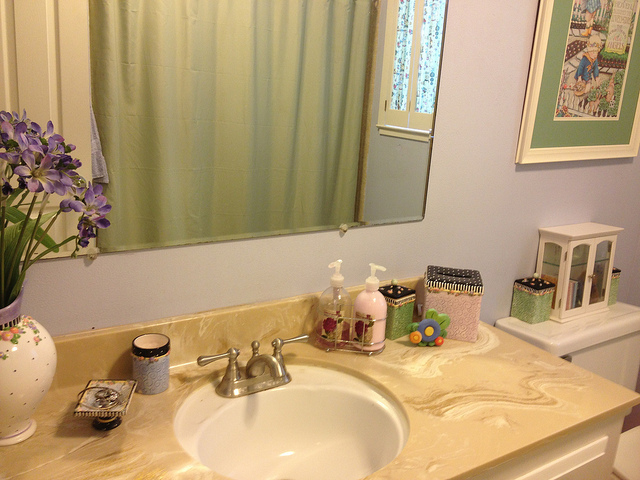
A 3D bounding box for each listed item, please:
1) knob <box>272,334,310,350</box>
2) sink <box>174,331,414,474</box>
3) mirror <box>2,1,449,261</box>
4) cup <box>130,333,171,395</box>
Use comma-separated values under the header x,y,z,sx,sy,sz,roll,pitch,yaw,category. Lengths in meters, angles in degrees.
x,y,z,sx,sy,sz,roll,pitch,yaw,category
-0.087,0.283,1.297,0.131,0.055,0.035,-1,-8,-27,knob
-0.061,0.441,1.202,0.572,0.301,0.370,1,14,6,sink
-0.269,-0.301,1.206,0.729,0.558,0.051,-11,28,-25,mirror
-0.438,0.321,1.192,0.093,0.121,0.109,5,9,19,cup
